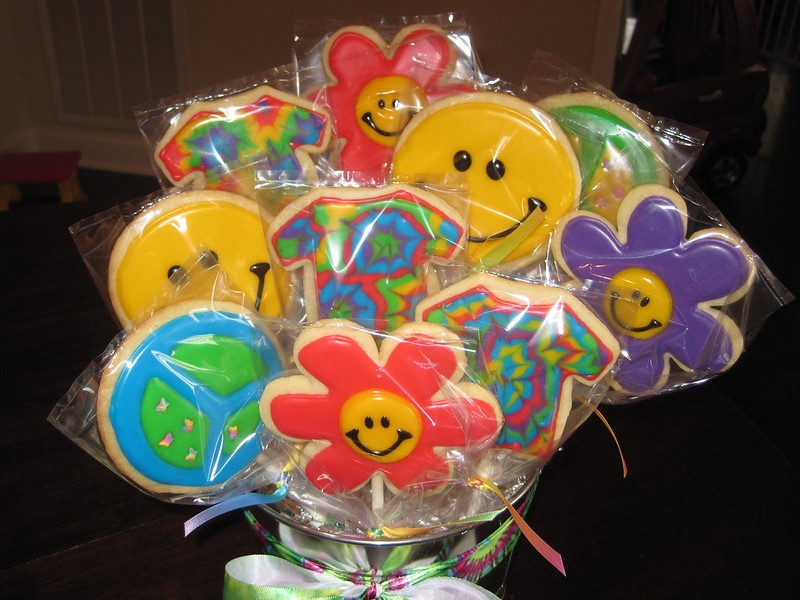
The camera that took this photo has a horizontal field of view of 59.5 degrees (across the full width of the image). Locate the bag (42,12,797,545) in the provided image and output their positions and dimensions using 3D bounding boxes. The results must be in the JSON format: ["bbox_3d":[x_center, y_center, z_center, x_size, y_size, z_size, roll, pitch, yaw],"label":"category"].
[{"bbox_3d":[-0.001,-0.066,1.089,1.053,0.452,0.754,-10,39,-15],"label":"bag"}]
